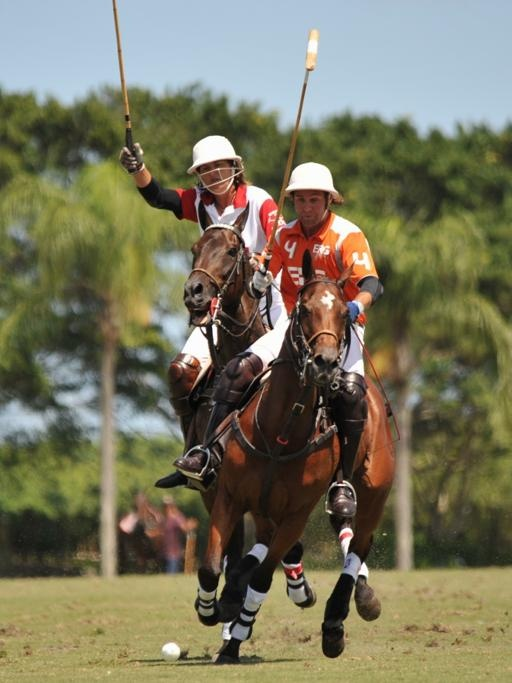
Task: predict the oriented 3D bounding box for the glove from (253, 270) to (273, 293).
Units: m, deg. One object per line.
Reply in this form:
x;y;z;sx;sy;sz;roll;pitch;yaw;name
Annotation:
0.038;-0.407;9.930;0.105;0.140;0.069;3;5;10;glove

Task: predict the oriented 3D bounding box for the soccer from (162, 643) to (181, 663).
-0.607;2.171;10.256;0.121;0.120;0.118;-10;-30;13;soccer

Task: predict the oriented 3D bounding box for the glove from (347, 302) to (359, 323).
0.600;-0.198;9.334;0.088;0.102;0.114;-1;-26;9;glove

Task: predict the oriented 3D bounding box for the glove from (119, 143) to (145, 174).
-0.901;-1.339;10.488;0.168;0.253;0.360;3;-5;-5;glove
